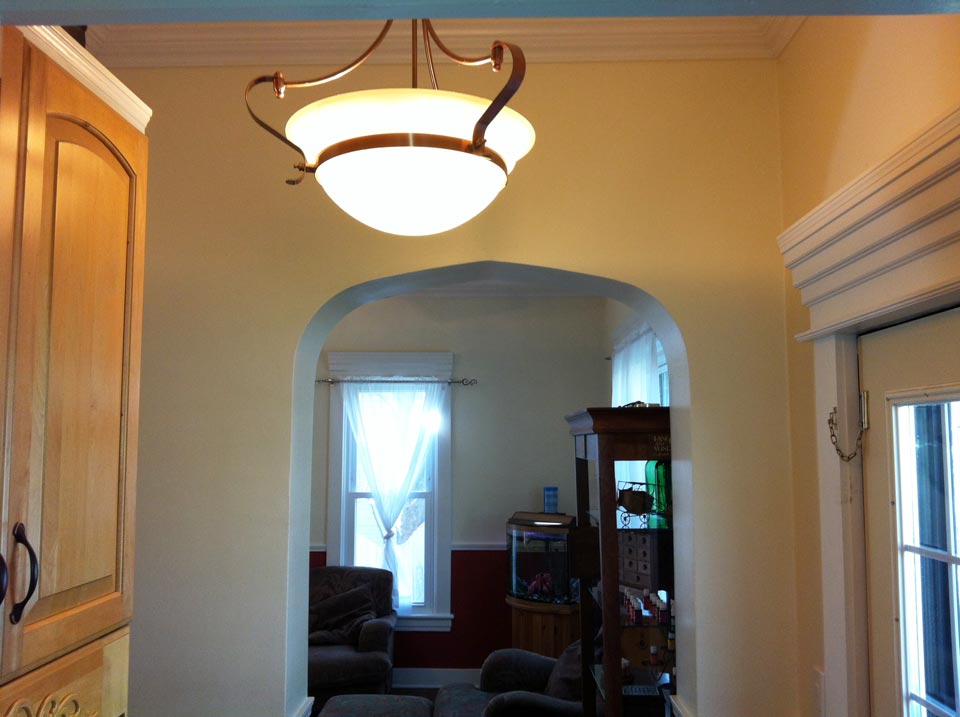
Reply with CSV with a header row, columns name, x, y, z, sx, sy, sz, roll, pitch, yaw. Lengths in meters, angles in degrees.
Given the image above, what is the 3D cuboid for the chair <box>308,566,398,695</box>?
name,x,y,z,sx,sy,sz,roll,pitch,yaw
chair,-0.802,1.699,5.051,0.540,0.725,0.686,-1,-31,-2

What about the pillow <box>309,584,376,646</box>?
name,x,y,z,sx,sy,sz,roll,pitch,yaw
pillow,-0.864,1.619,5.077,0.449,0.497,0.146,4,-20,-4
